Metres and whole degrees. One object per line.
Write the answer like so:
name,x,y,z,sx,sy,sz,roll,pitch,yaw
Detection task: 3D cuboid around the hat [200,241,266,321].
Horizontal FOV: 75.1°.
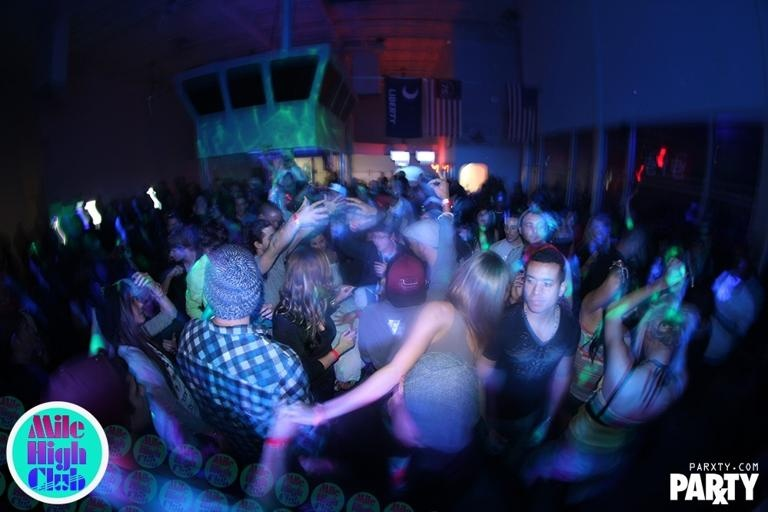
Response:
hat,-1.428,0.245,4.739,0.532,0.657,0.349,-5,15,-14
